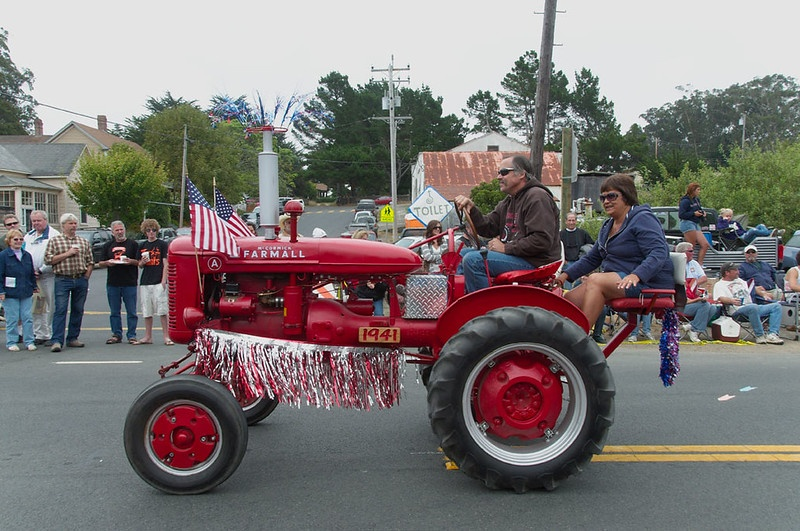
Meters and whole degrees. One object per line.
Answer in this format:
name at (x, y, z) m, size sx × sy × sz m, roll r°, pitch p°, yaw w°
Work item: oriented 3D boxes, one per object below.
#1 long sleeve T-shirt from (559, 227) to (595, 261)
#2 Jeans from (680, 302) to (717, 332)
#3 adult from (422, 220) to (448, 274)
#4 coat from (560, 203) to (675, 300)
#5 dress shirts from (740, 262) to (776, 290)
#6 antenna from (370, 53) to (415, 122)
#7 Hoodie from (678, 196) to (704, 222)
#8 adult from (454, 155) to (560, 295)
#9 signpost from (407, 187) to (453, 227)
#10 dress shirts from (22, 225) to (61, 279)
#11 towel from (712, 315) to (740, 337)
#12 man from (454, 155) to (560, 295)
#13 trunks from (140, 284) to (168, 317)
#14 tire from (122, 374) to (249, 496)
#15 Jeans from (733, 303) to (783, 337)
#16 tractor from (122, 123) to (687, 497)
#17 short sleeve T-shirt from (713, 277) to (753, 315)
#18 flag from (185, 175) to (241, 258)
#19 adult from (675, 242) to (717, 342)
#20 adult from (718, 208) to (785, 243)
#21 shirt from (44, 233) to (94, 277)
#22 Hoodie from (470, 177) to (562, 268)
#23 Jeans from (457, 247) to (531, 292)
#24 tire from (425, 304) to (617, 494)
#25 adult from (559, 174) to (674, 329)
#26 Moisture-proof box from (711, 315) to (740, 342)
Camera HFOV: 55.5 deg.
long sleeve T-shirt at (2.972, -0.357, 12.916) m, size 0.749 × 0.598 × 0.246 m, roll -1°, pitch -10°, yaw -13°
Jeans at (5.357, 0.916, 13.651) m, size 0.613 × 0.702 × 0.600 m, roll 3°, pitch -9°, yaw -2°
adult at (0.400, -0.200, 8.771) m, size 0.327 × 0.608 × 0.355 m, roll 1°, pitch -3°, yaw 30°
coat at (2.432, -0.147, 8.468) m, size 0.924 × 0.916 × 1.250 m, roll 4°, pitch -3°, yaw -18°
dress shirts at (7.032, 0.215, 15.031) m, size 0.489 × 0.466 × 0.280 m, roll -6°, pitch -6°, yaw -17°
antenna at (-0.513, -9.230, 41.071) m, size 2.241 × 3.703 × 0.716 m, roll -2°, pitch 9°, yaw -2°
Hoodie at (6.643, -1.281, 17.498) m, size 0.550 × 0.569 × 0.709 m, roll 0°, pitch 7°, yaw 37°
adult at (1.148, -0.286, 8.588) m, size 1.264 × 1.842 × 0.905 m, roll 3°, pitch 1°, yaw 17°
signpost at (0.662, -1.239, 16.569) m, size 1.070 × 1.028 × 0.109 m, roll -3°, pitch -5°, yaw -2°
dress shirts at (-6.206, -0.197, 13.156) m, size 0.852 × 0.997 × 0.546 m, roll 2°, pitch 5°, yaw 7°
towel at (5.969, 1.129, 13.957) m, size 0.429 × 0.338 × 0.278 m, roll 2°, pitch 14°, yaw 11°
man at (1.153, -0.288, 8.601) m, size 1.213 × 1.818 × 0.904 m, roll 3°, pitch 2°, yaw 15°
trunks at (-4.241, 0.592, 13.116) m, size 0.558 × 0.730 × 0.310 m, roll -1°, pitch -4°, yaw 1°
tire at (-2.107, 1.706, 7.530) m, size 1.166 × 1.180 × 0.417 m, roll -1°, pitch 1°, yaw -2°
Jeans at (6.693, 1.141, 14.233) m, size 0.530 × 0.727 × 0.854 m, roll 0°, pitch -38°, yaw 35°
tractor at (-0.188, 0.369, 8.590) m, size 5.462 × 3.328 × 3.144 m, roll 3°, pitch 6°, yaw -15°
short sleeve T-shirt at (6.247, 0.604, 14.322) m, size 0.565 × 0.553 × 0.329 m, roll -7°, pitch -27°, yaw 3°
flag at (-1.908, -0.471, 7.766) m, size 0.458 × 0.801 × 0.371 m, roll -5°, pitch 15°, yaw -19°
adult at (5.564, 0.508, 14.305) m, size 0.713 × 1.766 × 0.933 m, roll -15°, pitch 16°, yaw -21°
adult at (10.138, -1.154, 22.175) m, size 0.900 × 1.160 × 1.870 m, roll 5°, pitch -7°, yaw -40°
shirt at (-5.712, -0.168, 13.023) m, size 0.430 × 0.740 × 0.761 m, roll -6°, pitch -3°, yaw 44°
Hoodie at (1.407, -0.454, 8.541) m, size 1.041 × 0.980 × 0.871 m, roll 1°, pitch -2°, yaw -10°
Jeans at (1.012, 0.010, 8.187) m, size 0.611 × 0.273 × 0.450 m, roll -6°, pitch 11°, yaw -1°
tire at (1.175, 1.344, 7.597) m, size 1.694 × 1.711 × 0.614 m, roll -4°, pitch -5°, yaw -3°
adult at (2.351, -0.024, 8.431) m, size 1.426 × 1.922 × 1.434 m, roll -4°, pitch 0°, yaw 1°
Moisture-proof box at (5.964, 1.174, 14.063) m, size 0.403 × 0.538 × 0.553 m, roll -1°, pitch 2°, yaw 3°
